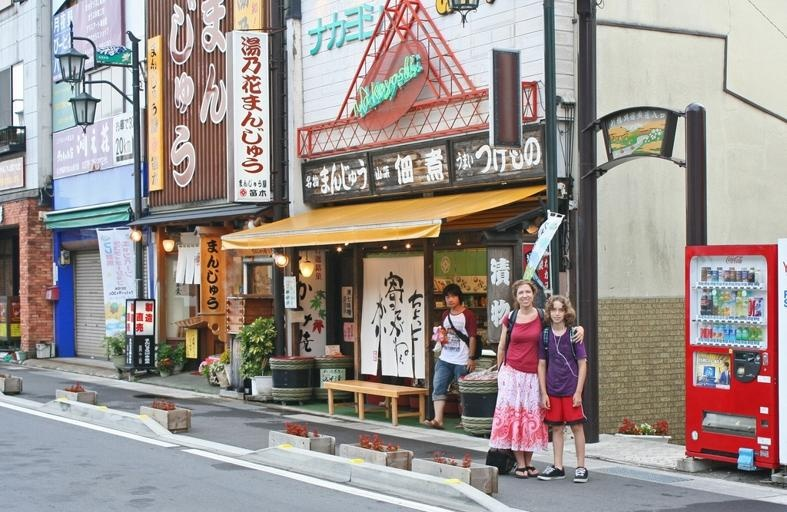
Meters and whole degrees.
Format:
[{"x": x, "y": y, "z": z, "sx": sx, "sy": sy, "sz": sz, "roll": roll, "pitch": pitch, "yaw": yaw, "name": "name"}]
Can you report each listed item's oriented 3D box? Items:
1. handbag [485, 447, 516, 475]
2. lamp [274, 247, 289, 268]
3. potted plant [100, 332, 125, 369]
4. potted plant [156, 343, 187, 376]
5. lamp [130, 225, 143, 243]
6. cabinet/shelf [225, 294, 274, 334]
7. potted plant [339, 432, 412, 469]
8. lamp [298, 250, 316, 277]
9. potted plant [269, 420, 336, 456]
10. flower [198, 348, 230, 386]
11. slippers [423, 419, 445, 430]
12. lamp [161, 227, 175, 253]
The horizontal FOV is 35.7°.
[{"x": 1.820, "y": 3.455, "z": 21.078, "sx": 0.452, "sy": 0.455, "sz": 0.456, "roll": 2, "pitch": 2, "yaw": 13, "name": "handbag"}, {"x": -2.575, "y": 0.032, "z": 27.638, "sx": 0.303, "sy": 0.430, "sz": 0.151, "roll": -4, "pitch": -14, "yaw": -24, "name": "lamp"}, {"x": -7.407, "y": 2.456, "z": 32.425, "sx": 0.800, "sy": 1.050, "sz": 0.988, "roll": -3, "pitch": 2, "yaw": -28, "name": "potted plant"}, {"x": -5.922, "y": 2.704, "z": 32.337, "sx": 0.696, "sy": 0.931, "sz": 0.919, "roll": -2, "pitch": 8, "yaw": -22, "name": "potted plant"}, {"x": -6.556, "y": -0.596, "z": 31.208, "sx": 0.340, "sy": 0.431, "sz": 0.427, "roll": -2, "pitch": -13, "yaw": 1, "name": "lamp"}, {"x": -3.270, "y": 1.257, "z": 28.350, "sx": 0.788, "sy": 1.207, "sz": 1.371, "roll": 3, "pitch": -6, "yaw": -41, "name": "cabinet/shelf"}, {"x": -0.299, "y": 3.340, "z": 20.756, "sx": 1.472, "sy": 0.499, "sz": 0.489, "roll": 0, "pitch": 12, "yaw": 38, "name": "potted plant"}, {"x": -1.947, "y": 0.162, "z": 27.602, "sx": 0.416, "sy": 0.592, "sz": 0.206, "roll": -9, "pitch": 10, "yaw": -9, "name": "lamp"}, {"x": -1.647, "y": 3.271, "z": 21.630, "sx": 1.297, "sy": 0.524, "sz": 0.576, "roll": -2, "pitch": 11, "yaw": 31, "name": "potted plant"}, {"x": -4.258, "y": 2.659, "z": 29.308, "sx": 0.609, "sy": 0.861, "sz": 0.886, "roll": 9, "pitch": -15, "yaw": -38, "name": "flower"}, {"x": 0.801, "y": 3.319, "z": 24.259, "sx": 0.174, "sy": 0.120, "sz": 0.332, "roll": -2, "pitch": -14, "yaw": 32, "name": "slippers"}, {"x": -6.078, "y": -0.424, "z": 32.923, "sx": 0.392, "sy": 0.746, "sz": 0.545, "roll": -11, "pitch": 10, "yaw": -17, "name": "lamp"}]
